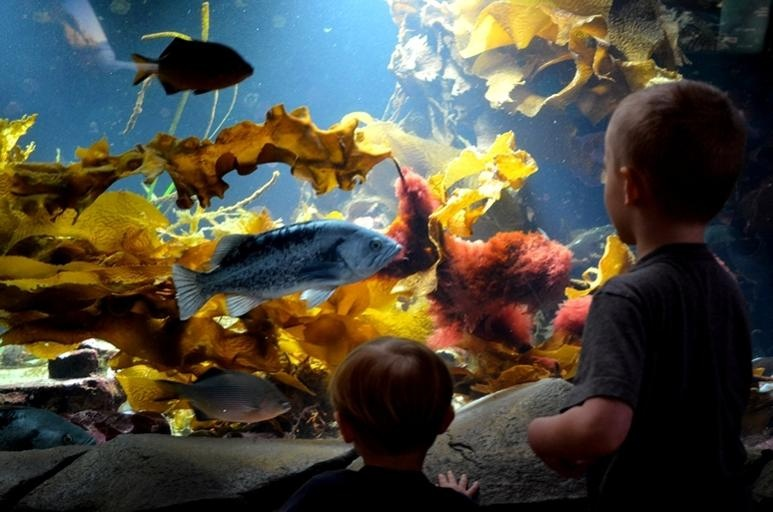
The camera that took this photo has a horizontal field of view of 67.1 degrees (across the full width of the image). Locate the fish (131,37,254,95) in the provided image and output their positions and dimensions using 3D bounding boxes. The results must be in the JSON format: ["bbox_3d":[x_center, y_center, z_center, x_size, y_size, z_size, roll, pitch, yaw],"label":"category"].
[{"bbox_3d":[-0.943,-0.965,2.918,0.692,0.251,0.109,3,15,11],"label":"fish"}]

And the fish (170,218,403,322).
[{"bbox_3d":[-0.482,0.060,2.862,1.250,0.338,0.347,-10,-3,11],"label":"fish"}]

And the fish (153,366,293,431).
[{"bbox_3d":[-0.830,0.717,3.027,0.807,0.236,0.144,1,-2,11],"label":"fish"}]
